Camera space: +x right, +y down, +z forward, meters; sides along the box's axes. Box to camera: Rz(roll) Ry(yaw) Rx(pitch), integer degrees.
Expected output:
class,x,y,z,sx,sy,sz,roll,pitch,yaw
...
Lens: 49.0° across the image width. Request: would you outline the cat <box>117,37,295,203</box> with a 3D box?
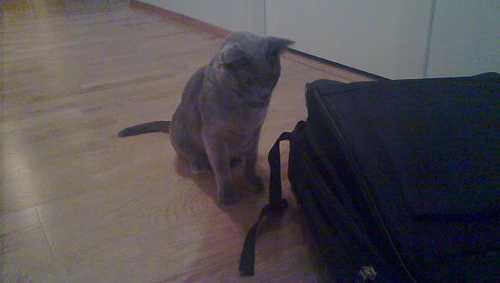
class,x,y,z,sx,sy,sz,roll,pitch,yaw
cat,-0.368,-0.352,4.600,0.704,1.334,1.715,-19,34,-36
